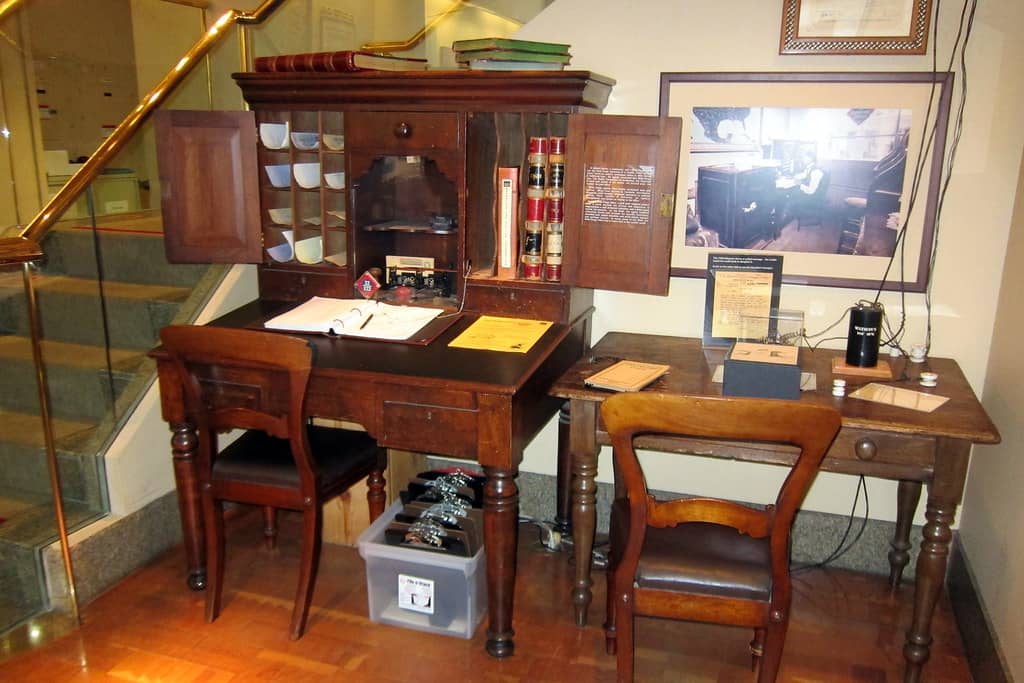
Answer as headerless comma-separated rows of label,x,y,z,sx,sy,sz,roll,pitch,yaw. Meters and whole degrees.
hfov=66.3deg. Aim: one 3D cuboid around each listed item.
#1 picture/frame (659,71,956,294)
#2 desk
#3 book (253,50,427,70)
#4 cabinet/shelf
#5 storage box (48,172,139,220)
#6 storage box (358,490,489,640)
picture/frame,1.264,-0.674,3.230,1.067,0.731,0.038,4,14,15
desk,0.998,0.890,3.526,2.046,1.338,1.254,4,19,14
book,-0.715,-1.145,3.244,0.696,0.091,0.242,-1,15,-9
cabinet/shelf,-0.380,0.063,3.164,2.341,2.124,1.407,4,19,16
storage box,-1.883,-0.696,3.682,0.181,0.262,0.316,-9,18,-39
storage box,-0.306,0.886,3.187,0.530,0.293,0.487,3,16,10
